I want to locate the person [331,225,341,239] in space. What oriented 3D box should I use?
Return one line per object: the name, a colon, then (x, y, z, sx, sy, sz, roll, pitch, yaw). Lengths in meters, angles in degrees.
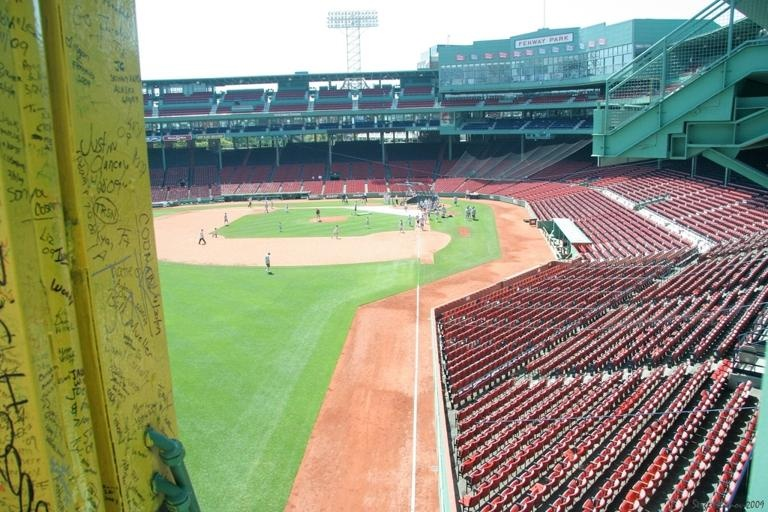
person: (-3.645, -1.689, 43.094, 0.704, 0.388, 1.213, -18, -9, -6)
